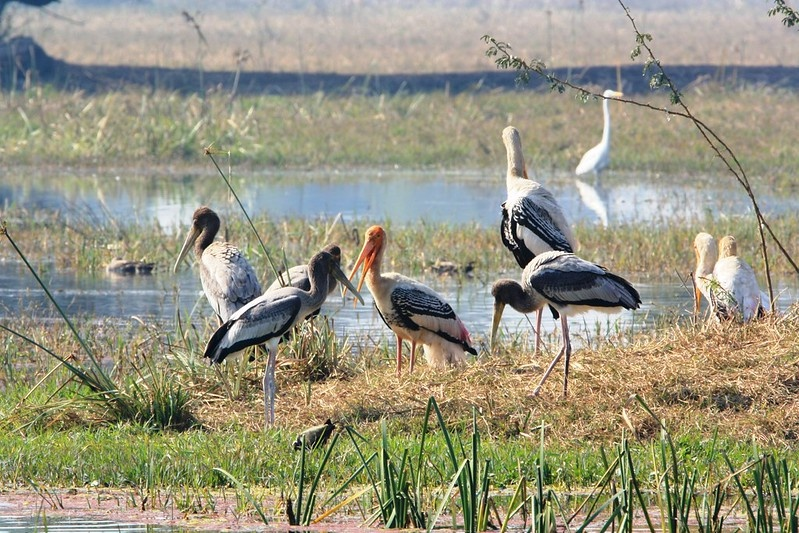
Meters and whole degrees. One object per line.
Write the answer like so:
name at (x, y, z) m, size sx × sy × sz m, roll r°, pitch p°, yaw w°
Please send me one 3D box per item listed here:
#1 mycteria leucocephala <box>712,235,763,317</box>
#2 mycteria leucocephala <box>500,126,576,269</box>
mycteria leucocephala at (4.577, 0.190, 18.831) m, size 0.481 × 0.943 × 1.419 m, roll -9°, pitch 30°, yaw -3°
mycteria leucocephala at (1.903, -1.034, 19.526) m, size 0.852 × 2.094 × 1.212 m, roll -3°, pitch -3°, yaw -18°
